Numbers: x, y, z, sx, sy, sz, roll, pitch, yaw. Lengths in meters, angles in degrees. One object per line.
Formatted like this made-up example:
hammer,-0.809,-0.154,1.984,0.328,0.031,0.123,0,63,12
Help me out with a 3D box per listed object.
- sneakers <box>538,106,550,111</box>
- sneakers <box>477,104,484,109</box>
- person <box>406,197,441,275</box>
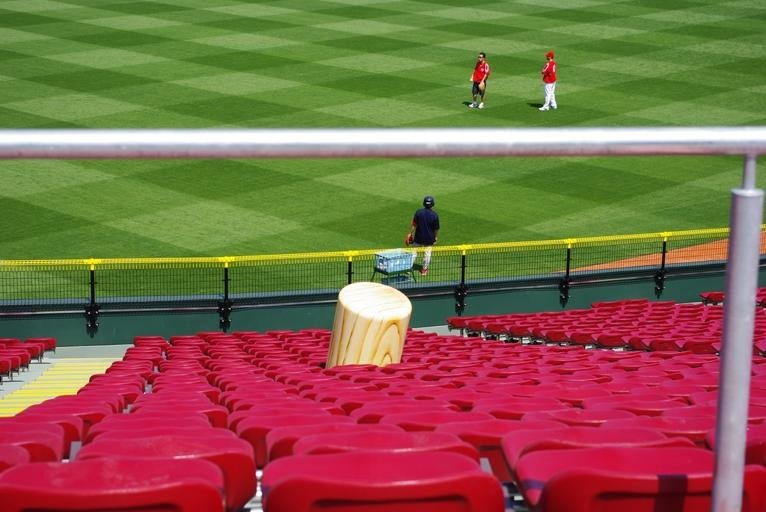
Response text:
sneakers,4.013,-3.640,22.944,0.276,0.079,0.099,2,32,4
sneakers,2.441,-3.702,22.921,0.145,0.059,0.187,-5,3,6
person,0.610,-0.318,14.581,0.523,1.261,0.895,-4,-2,1
